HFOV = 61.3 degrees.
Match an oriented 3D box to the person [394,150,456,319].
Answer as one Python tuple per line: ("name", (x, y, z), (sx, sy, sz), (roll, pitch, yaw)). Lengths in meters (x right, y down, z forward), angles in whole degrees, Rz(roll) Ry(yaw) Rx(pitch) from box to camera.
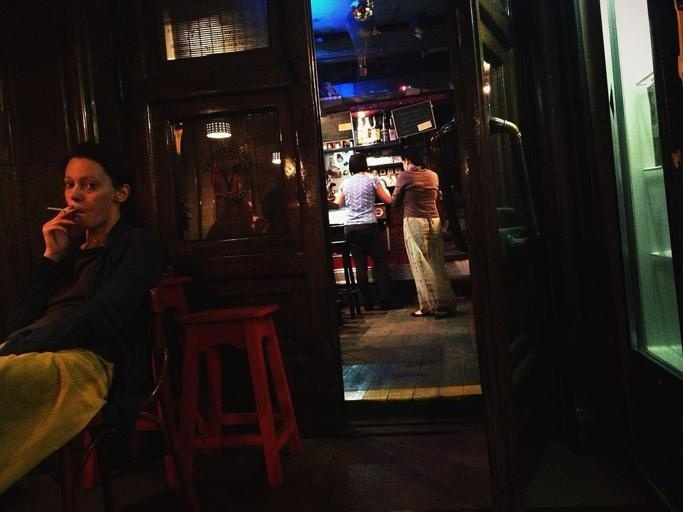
("person", (0.848, -0.230, 5.948), (0.494, 1.717, 0.642), (-9, 14, -16))

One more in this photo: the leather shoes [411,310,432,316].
("leather shoes", (0.840, 0.600, 6.083), (0.207, 0.060, 0.079), (2, 3, 6))

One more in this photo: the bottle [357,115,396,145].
("bottle", (0.468, -1.801, 8.220), (0.553, 0.404, 0.338), (-5, 14, 2))

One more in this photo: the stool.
("stool", (-0.561, 0.721, 3.094), (0.654, 0.807, 0.668), (-4, -5, -14))

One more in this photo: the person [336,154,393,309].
("person", (0.285, -0.255, 6.775), (0.606, 1.873, 0.627), (-4, 13, 1))
